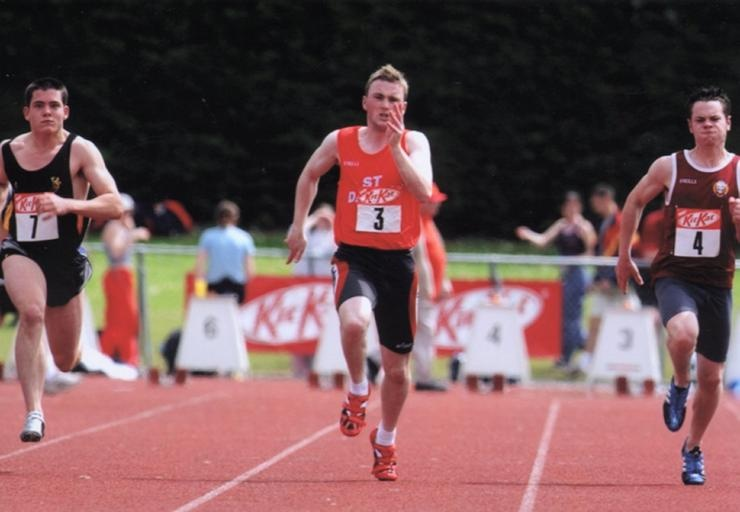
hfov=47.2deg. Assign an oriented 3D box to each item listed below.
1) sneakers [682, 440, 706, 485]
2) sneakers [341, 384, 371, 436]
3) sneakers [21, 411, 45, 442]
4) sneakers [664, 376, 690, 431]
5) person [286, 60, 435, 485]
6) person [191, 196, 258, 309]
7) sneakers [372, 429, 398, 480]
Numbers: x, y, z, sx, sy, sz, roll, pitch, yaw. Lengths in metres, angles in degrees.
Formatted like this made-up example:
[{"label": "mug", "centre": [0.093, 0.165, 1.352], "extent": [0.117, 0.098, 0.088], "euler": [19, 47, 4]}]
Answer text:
[{"label": "sneakers", "centre": [2.543, 1.626, 6.672], "extent": [0.138, 0.368, 0.167], "euler": [0, -6, 6]}, {"label": "sneakers", "centre": [-0.109, 1.198, 6.665], "extent": [0.180, 0.395, 0.174], "euler": [8, -18, -2]}, {"label": "sneakers", "centre": [-2.625, 1.341, 6.616], "extent": [0.150, 0.274, 0.321], "euler": [0, 2, -17]}, {"label": "sneakers", "centre": [2.456, 1.197, 6.872], "extent": [0.166, 0.451, 0.206], "euler": [8, 6, 13]}, {"label": "person", "centre": [-0.084, 0.134, 6.572], "extent": [0.917, 3.219, 0.633], "euler": [1, 2, 5]}, {"label": "person", "centre": [-1.871, -0.045, 10.987], "extent": [0.749, 1.317, 0.505], "euler": [1, 2, -10]}, {"label": "sneakers", "centre": [0.119, 1.605, 6.629], "extent": [0.152, 0.161, 0.404], "euler": [0, 1, -5]}]
